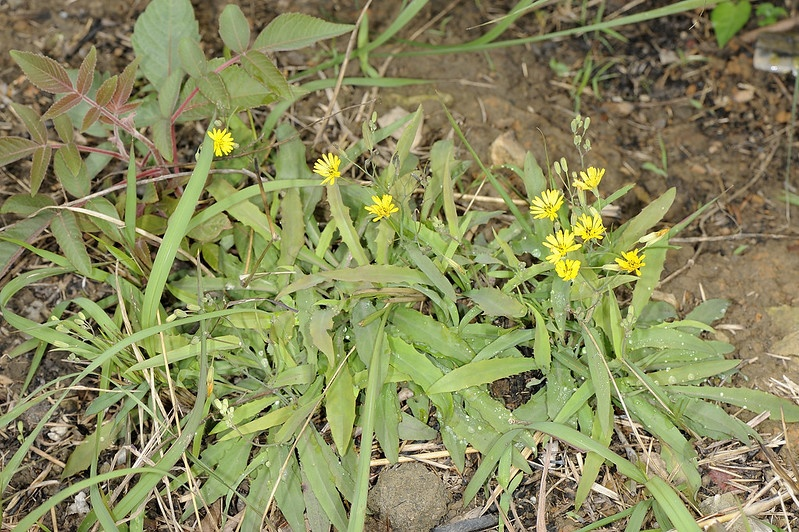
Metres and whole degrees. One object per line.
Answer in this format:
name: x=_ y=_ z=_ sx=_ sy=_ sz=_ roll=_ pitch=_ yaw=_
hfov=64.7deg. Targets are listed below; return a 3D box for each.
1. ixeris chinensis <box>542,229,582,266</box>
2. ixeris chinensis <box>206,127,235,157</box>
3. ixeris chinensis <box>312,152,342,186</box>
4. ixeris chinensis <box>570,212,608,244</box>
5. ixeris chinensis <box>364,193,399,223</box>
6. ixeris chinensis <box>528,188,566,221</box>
ixeris chinensis: x=0.541 y=-0.062 z=2.111 sx=0.124 sy=0.135 sz=0.050 roll=18 pitch=81 yaw=7
ixeris chinensis: x=-0.631 y=-0.440 z=2.273 sx=0.105 sy=0.035 sz=0.116 roll=11 pitch=81 yaw=-10
ixeris chinensis: x=-0.246 y=-0.343 z=2.274 sx=0.120 sy=0.062 sz=0.139 roll=3 pitch=82 yaw=2
ixeris chinensis: x=0.629 y=-0.120 z=2.121 sx=0.098 sy=0.049 sz=0.106 roll=29 pitch=81 yaw=3
ixeris chinensis: x=-0.064 y=-0.195 z=2.227 sx=0.094 sy=0.050 sz=0.106 roll=-11 pitch=62 yaw=6
ixeris chinensis: x=0.519 y=-0.182 z=2.188 sx=0.114 sy=0.058 sz=0.123 roll=-26 pitch=43 yaw=18
